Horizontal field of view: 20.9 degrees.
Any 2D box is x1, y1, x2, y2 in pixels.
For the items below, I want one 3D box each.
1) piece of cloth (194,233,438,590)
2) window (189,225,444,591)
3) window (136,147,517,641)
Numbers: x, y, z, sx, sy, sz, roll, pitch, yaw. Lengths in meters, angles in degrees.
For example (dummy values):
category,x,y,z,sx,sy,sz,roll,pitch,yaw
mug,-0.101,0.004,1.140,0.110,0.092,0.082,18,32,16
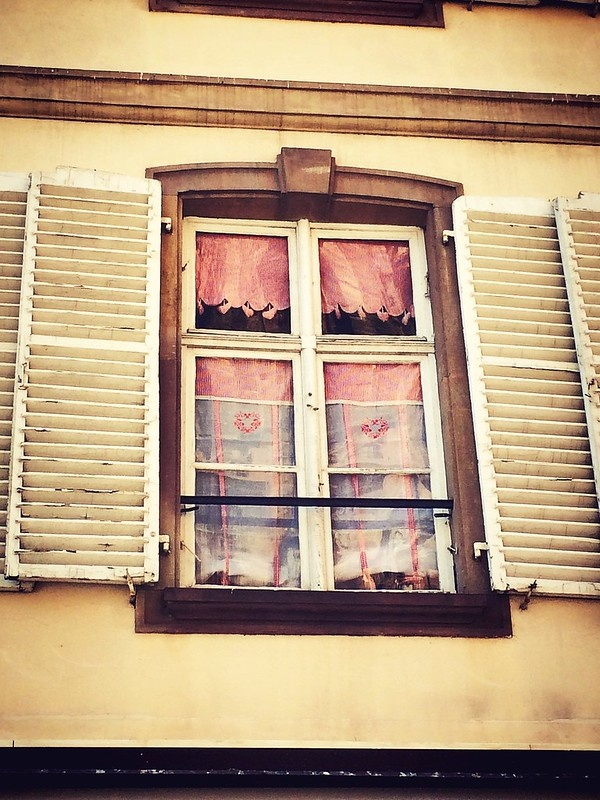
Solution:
category,x,y,z,sx,sy,sz,roll,pitch,yaw
piece of cloth,0.057,-0.015,7.593,1.237,2.125,0.123,2,-34,-7
window,0.061,0.031,7.572,1.271,2.169,0.131,1,-36,-5
window,0.052,-0.117,7.592,1.679,2.860,0.291,3,-40,-6
